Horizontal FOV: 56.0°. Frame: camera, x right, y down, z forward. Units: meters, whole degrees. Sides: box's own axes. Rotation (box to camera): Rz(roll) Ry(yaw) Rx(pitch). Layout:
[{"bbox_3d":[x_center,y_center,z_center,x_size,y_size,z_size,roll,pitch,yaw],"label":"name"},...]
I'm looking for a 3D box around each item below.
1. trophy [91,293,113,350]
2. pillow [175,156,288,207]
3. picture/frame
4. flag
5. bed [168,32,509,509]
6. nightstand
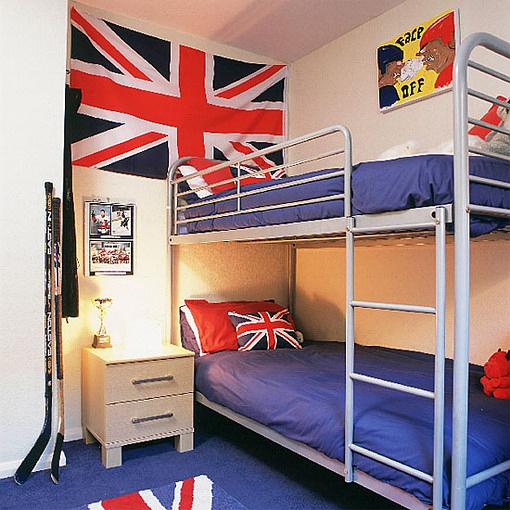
[{"bbox_3d":[-0.976,0.433,3.117,0.117,0.317,0.177,0,0,-16],"label":"trophy"},{"bbox_3d":[-0.177,-0.570,3.585,0.666,0.150,0.417,-3,17,-29],"label":"pillow"},{"bbox_3d":[-0.957,-0.117,3.229,0.337,0.497,0.032,0,0,-37],"label":"picture/frame"},{"bbox_3d":[-0.589,-1.169,3.444,1.435,0.813,0.049,1,-3,-35],"label":"flag"},{"bbox_3d":[0.360,0.066,2.306,0.474,1.640,1.689,0,0,-29],"label":"bed"},{"bbox_3d":[-0.760,0.887,2.989,0.621,0.580,0.614,2,-6,-32],"label":"nightstand"}]
